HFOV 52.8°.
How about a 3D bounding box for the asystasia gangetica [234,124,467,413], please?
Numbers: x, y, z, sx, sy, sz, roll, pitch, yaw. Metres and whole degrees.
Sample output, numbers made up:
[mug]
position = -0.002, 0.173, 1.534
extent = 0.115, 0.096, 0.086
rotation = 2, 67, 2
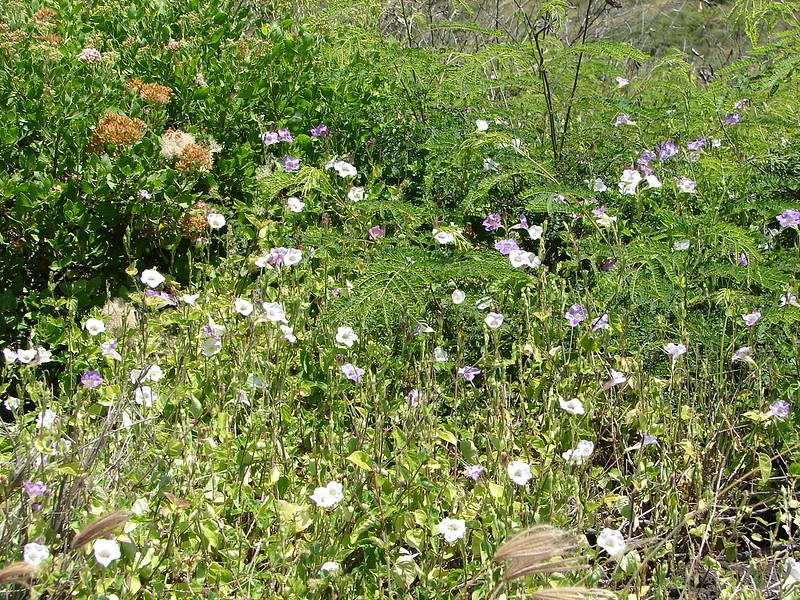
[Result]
[asystasia gangetica]
position = -0.127, -0.166, 3.499
extent = 0.774, 0.725, 1.539
rotation = -14, 42, -15
